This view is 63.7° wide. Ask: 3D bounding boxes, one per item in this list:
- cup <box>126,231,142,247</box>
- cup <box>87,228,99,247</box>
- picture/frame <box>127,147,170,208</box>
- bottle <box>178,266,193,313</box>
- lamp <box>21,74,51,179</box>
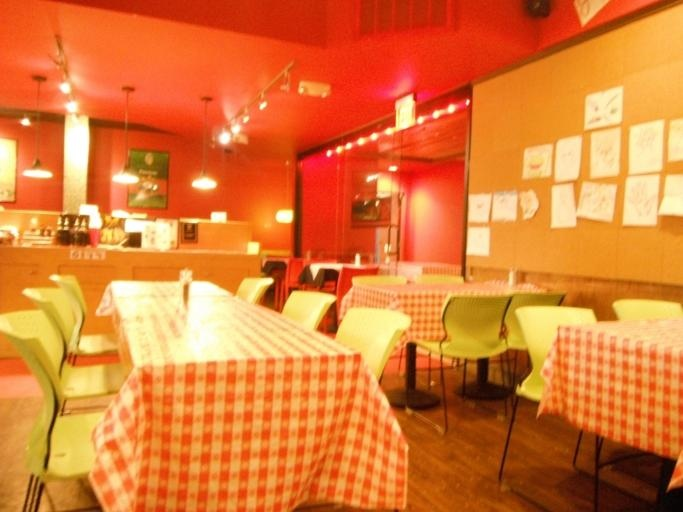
[{"bbox_3d":[-2.309,-0.180,6.140,0.142,0.164,0.277,2,-7,-16],"label":"cup"},{"bbox_3d":[-2.526,-0.193,5.631,0.095,0.182,0.169,-1,11,-17],"label":"cup"},{"bbox_3d":[-3.664,-1.506,10.343,0.988,1.559,0.051,-4,9,-34],"label":"picture/frame"},{"bbox_3d":[-0.918,0.188,3.244,0.048,0.236,0.219,-2,11,-18],"label":"bottle"},{"bbox_3d":[-4.655,-1.856,8.460,0.440,1.467,2.711,-4,12,-30],"label":"lamp"}]
